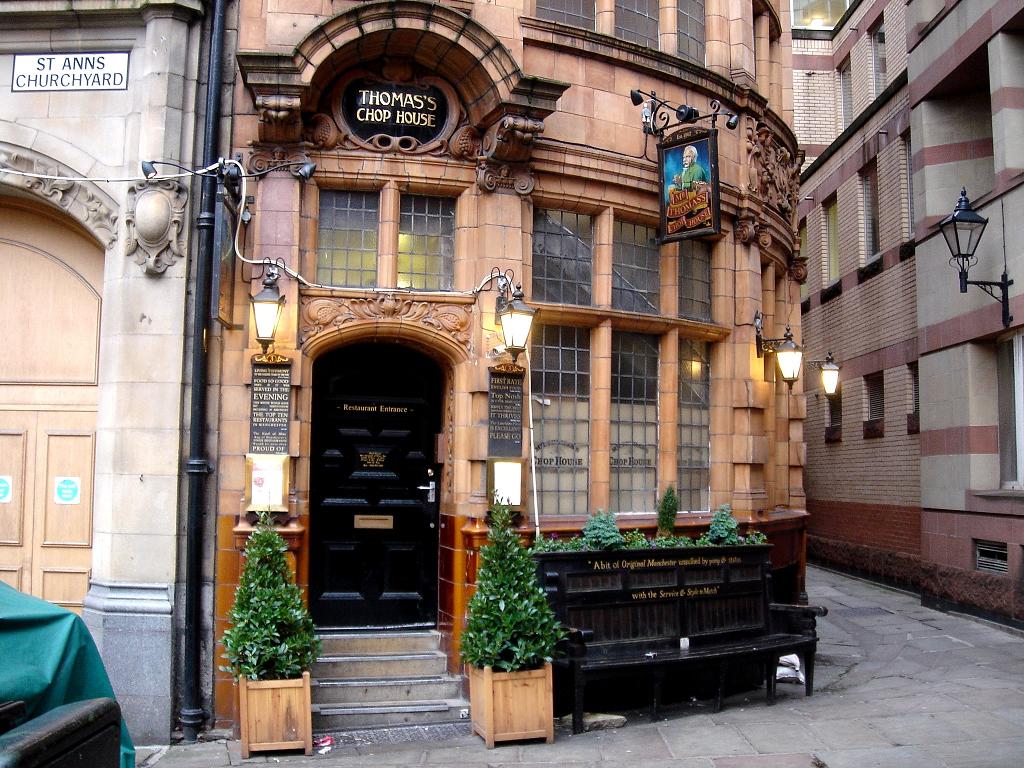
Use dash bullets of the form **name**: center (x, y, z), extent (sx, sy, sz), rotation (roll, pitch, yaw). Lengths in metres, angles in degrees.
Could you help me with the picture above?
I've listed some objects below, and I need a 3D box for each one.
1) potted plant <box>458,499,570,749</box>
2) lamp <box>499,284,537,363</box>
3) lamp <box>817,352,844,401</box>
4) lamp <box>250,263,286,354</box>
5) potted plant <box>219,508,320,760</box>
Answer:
- **potted plant**: center (-0.034, 2.690, 12.207), extent (1.066, 2.599, 0.456), rotation (-1, -9, 1)
- **lamp**: center (0.054, -0.722, 13.144), extent (0.387, 0.867, 0.396), rotation (2, 0, -17)
- **lamp**: center (5.679, -0.180, 19.548), extent (0.337, 0.915, 1.593), rotation (-3, -10, 16)
- **lamp**: center (-2.840, -0.894, 12.775), extent (0.471, 1.065, 0.465), rotation (6, -8, -19)
- **potted plant**: center (-2.672, 2.757, 12.065), extent (0.977, 2.606, 0.352), rotation (2, -10, -14)
